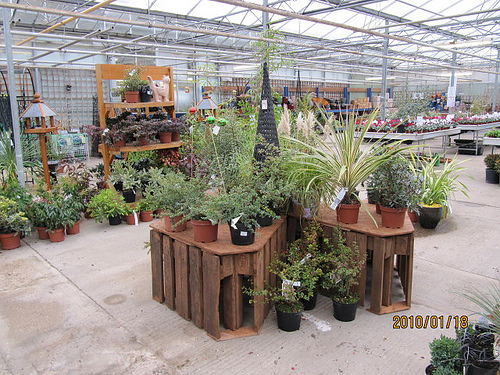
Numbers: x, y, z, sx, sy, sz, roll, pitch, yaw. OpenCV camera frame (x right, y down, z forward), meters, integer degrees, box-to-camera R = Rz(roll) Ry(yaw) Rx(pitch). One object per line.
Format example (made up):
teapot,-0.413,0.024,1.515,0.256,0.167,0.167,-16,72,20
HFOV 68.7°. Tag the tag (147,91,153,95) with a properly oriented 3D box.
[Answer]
tag,-1.753,-1.659,6.395,0.058,0.041,0.057,-16,0,-9

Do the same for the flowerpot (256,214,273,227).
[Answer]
flowerpot,0.141,0.310,3.549,0.129,0.091,0.127,-6,7,-42

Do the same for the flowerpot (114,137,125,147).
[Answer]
flowerpot,-2.164,-0.734,6.078,0.161,0.119,0.092,-6,13,-16

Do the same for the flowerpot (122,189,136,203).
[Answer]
flowerpot,-1.972,0.137,6.025,0.208,0.221,0.143,-13,17,-42

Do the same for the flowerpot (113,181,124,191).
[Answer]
flowerpot,-2.196,-0.029,6.144,0.160,0.113,0.159,6,12,31

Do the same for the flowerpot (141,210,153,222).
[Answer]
flowerpot,-1.664,0.448,5.913,0.177,0.127,0.172,-1,4,-18

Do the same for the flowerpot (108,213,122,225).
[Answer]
flowerpot,-2.123,0.485,5.765,0.166,0.119,0.167,4,9,20

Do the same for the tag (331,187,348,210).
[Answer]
tag,0.842,0.095,3.483,0.032,0.290,0.080,29,-1,-24

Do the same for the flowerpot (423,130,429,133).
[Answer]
flowerpot,5.012,-1.588,10.453,0.072,0.072,0.073,13,-1,-28

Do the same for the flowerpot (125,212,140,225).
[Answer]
flowerpot,-1.907,0.491,5.834,0.182,0.126,0.177,-1,1,-4

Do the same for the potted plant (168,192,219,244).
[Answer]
potted plant,-0.449,0.254,3.318,0.497,0.460,0.441,-2,4,-4

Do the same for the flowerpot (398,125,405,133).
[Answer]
flowerpot,4.389,-1.691,10.575,0.167,0.209,0.471,3,13,21

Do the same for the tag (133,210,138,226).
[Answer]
tag,-1.798,0.474,5.748,0.050,0.232,0.086,-6,14,-17

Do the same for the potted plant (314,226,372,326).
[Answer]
potted plant,0.840,0.798,3.454,0.479,0.807,0.504,3,14,21

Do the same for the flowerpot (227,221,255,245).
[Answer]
flowerpot,-0.079,0.389,3.217,0.208,0.150,0.186,3,6,44

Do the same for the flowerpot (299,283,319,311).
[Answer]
flowerpot,0.606,1.077,3.618,0.114,0.167,0.315,7,15,36

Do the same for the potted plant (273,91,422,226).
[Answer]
potted plant,0.934,-0.107,3.653,1.012,0.933,0.960,-4,6,-25

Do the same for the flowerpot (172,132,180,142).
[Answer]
flowerpot,-1.374,-0.934,6.840,0.144,0.145,0.140,2,13,8

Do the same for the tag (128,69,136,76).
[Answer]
tag,-1.997,-1.949,6.205,0.068,0.113,0.124,4,27,-20

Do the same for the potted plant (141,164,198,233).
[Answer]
potted plant,-0.752,0.172,3.477,0.416,0.415,0.293,-13,-1,-18

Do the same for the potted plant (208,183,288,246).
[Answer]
potted plant,-0.040,0.211,3.306,0.685,0.497,0.540,-5,13,-13

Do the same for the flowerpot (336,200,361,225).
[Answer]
flowerpot,0.965,0.243,3.560,0.213,0.147,0.207,0,2,1

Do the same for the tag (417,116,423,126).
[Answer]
tag,4.878,-1.925,10.495,0.229,0.201,0.053,4,7,7

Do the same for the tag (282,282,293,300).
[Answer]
tag,0.328,0.903,3.178,0.095,0.165,0.066,-1,13,4

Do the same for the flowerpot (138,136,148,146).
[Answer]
flowerpot,-1.804,-0.779,6.167,0.114,0.123,0.121,7,-8,16

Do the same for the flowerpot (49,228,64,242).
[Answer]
flowerpot,-2.710,0.656,5.139,0.185,0.136,0.180,0,3,-8

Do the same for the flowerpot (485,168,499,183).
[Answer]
flowerpot,5.298,-0.245,8.011,0.272,0.264,0.288,3,9,17

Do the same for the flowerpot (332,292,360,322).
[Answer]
flowerpot,0.869,1.098,3.362,0.220,0.177,0.250,0,1,40

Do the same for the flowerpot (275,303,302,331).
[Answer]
flowerpot,0.381,1.173,3.337,0.303,0.196,0.317,-6,-6,24

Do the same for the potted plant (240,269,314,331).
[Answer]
potted plant,0.289,0.967,3.318,0.534,0.557,0.453,0,13,9

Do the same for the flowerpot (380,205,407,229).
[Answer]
flowerpot,1.389,0.261,3.577,0.276,0.201,0.278,6,12,34

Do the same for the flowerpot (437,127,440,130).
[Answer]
flowerpot,5.629,-1.753,10.907,0.050,0.081,0.218,9,16,41

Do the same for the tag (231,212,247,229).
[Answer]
tag,-0.104,0.281,3.129,0.118,0.113,0.057,-11,7,14

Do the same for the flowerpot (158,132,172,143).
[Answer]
flowerpot,-1.516,-0.891,6.539,0.188,0.138,0.186,-2,3,-41

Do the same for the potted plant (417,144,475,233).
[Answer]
potted plant,2.826,0.042,5.516,0.904,1.064,0.987,1,4,22

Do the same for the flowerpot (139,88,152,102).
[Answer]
flowerpot,-1.808,-1.594,6.354,0.224,0.269,0.184,-2,2,-12

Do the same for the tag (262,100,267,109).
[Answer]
tag,0.146,-0.832,3.675,0.046,0.087,0.031,0,13,7

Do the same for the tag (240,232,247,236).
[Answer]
tag,-0.054,0.388,3.117,0.048,0.030,0.009,2,-5,9

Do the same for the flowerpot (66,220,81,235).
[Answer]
flowerpot,-2.620,0.587,5.421,0.196,0.136,0.190,-1,7,-15

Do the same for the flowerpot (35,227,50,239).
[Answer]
flowerpot,-2.945,0.647,5.197,0.177,0.128,0.172,0,4,-4

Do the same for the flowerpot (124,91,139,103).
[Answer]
flowerpot,-1.997,-1.525,6.192,0.205,0.144,0.201,-5,7,-39

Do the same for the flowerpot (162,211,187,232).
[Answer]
flowerpot,-0.713,0.319,3.449,0.165,0.124,0.170,0,15,1

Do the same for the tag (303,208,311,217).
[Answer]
tag,0.555,0.250,3.577,0.044,0.079,0.074,0,-3,-9

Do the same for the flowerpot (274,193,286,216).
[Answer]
flowerpot,0.311,0.171,3.776,0.120,0.236,0.161,-1,13,3

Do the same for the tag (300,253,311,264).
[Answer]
tag,0.504,0.663,3.369,0.051,0.180,0.036,11,47,-17

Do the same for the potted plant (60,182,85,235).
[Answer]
potted plant,-2.697,0.306,5.560,0.296,0.691,0.915,-8,14,-26

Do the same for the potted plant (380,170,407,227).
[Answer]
potted plant,1.369,0.105,3.517,0.198,0.511,0.191,-4,13,-10

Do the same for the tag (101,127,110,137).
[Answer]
tag,-2.429,-0.938,6.156,0.133,0.129,0.273,-6,13,-18

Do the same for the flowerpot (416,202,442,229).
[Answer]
flowerpot,2.609,0.411,5.411,0.447,0.388,0.226,-5,13,-13
